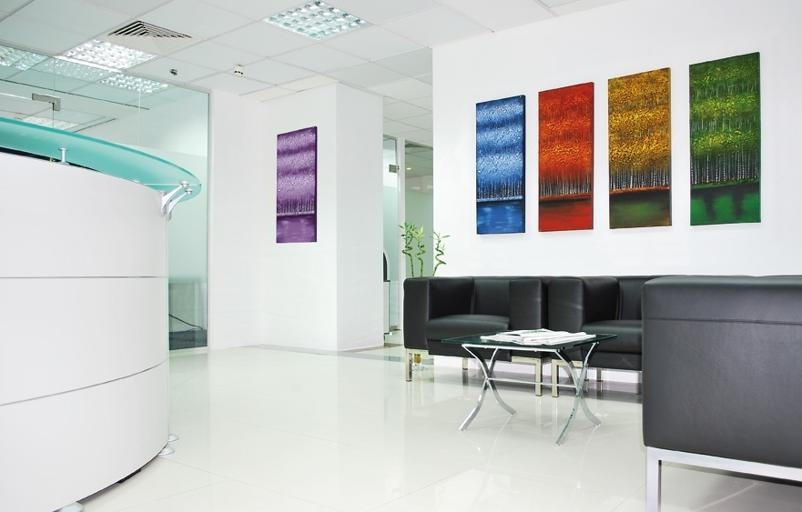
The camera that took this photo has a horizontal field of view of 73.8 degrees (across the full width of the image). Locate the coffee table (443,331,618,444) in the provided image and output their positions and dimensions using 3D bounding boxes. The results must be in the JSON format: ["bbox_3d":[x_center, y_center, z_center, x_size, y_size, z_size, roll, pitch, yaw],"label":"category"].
[{"bbox_3d":[1.158,1.002,4.711,1.119,0.746,1.030,-4,-5,36],"label":"coffee table"}]
